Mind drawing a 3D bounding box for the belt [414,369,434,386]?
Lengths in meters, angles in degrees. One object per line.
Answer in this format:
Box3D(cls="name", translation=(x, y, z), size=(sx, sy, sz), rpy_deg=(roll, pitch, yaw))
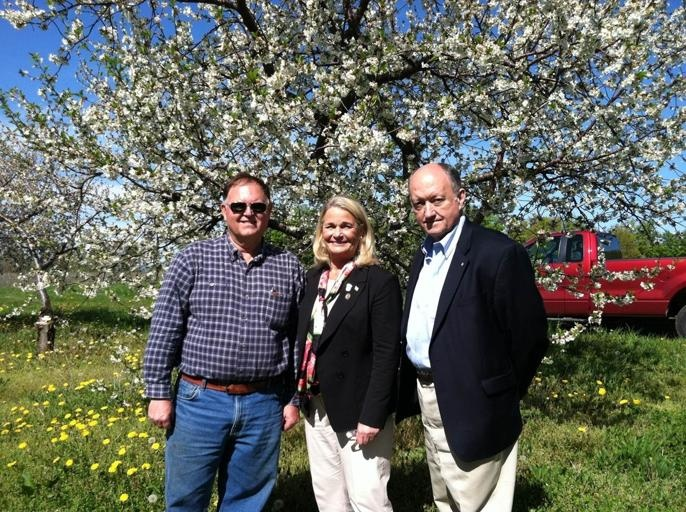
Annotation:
Box3D(cls="belt", translation=(0.699, 1.047, 4.179), size=(0.128, 0.135, 0.115), rpy_deg=(-3, -3, -10))
